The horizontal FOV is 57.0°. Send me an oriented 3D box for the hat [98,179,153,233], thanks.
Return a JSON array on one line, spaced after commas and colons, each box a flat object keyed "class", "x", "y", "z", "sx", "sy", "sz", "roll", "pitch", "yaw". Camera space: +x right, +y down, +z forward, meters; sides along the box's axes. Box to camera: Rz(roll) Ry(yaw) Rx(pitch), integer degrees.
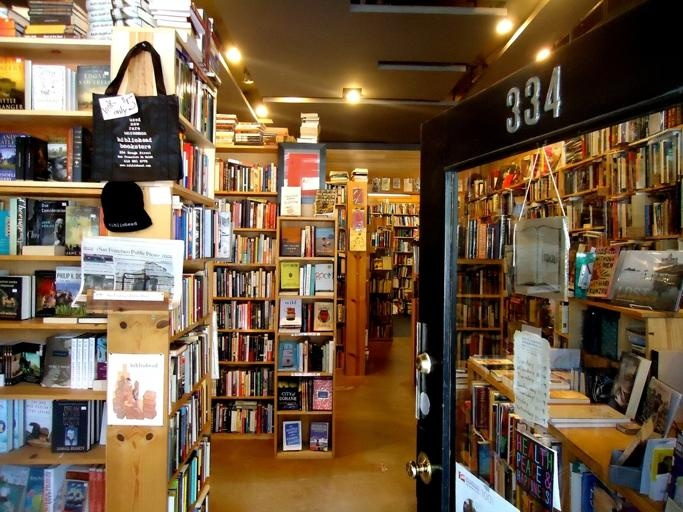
[{"class": "hat", "x": -1.005, "y": -0.233, "z": 2.911, "sx": 0.237, "sy": 0.157, "sz": 0.167, "roll": 11, "pitch": 18, "yaw": 13}]
